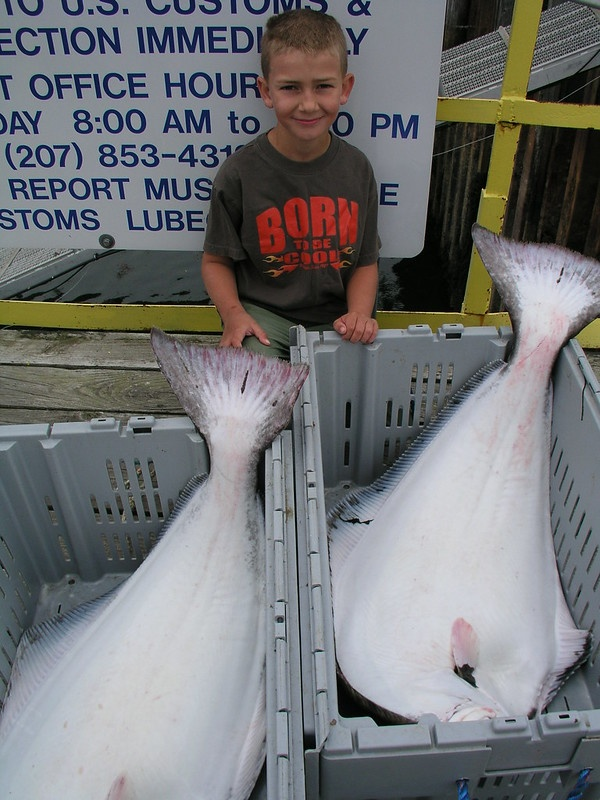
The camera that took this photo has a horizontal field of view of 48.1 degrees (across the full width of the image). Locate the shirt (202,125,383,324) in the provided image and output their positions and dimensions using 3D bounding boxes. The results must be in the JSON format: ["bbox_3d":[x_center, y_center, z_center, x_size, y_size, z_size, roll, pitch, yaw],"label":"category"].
[{"bbox_3d":[-0.018,-0.561,2.229,0.621,0.553,0.318,-7,41,-12],"label":"shirt"}]
